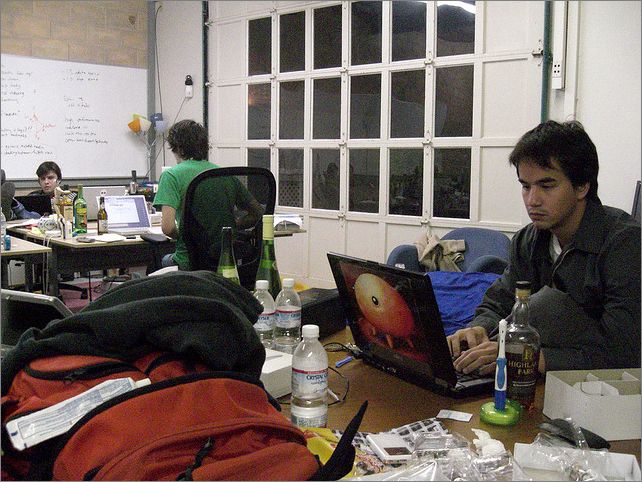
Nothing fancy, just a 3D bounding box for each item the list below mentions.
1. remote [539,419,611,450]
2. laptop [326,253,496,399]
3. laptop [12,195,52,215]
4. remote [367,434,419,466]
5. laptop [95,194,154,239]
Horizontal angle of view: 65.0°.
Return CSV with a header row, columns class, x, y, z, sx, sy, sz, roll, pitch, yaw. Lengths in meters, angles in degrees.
class,x,y,z,sx,sy,sz,roll,pitch,yaw
remote,0.554,0.425,1.082,0.096,0.029,0.124,9,-14,-17
laptop,0.271,0.167,1.407,0.378,0.339,0.391,-16,18,-39
laptop,-2.603,-0.337,4.562,0.278,0.196,0.207,2,28,-18
remote,0.151,0.439,1.060,0.082,0.024,0.105,-5,10,-11
laptop,-1.541,-0.182,3.980,0.326,0.340,0.241,-4,1,-25
